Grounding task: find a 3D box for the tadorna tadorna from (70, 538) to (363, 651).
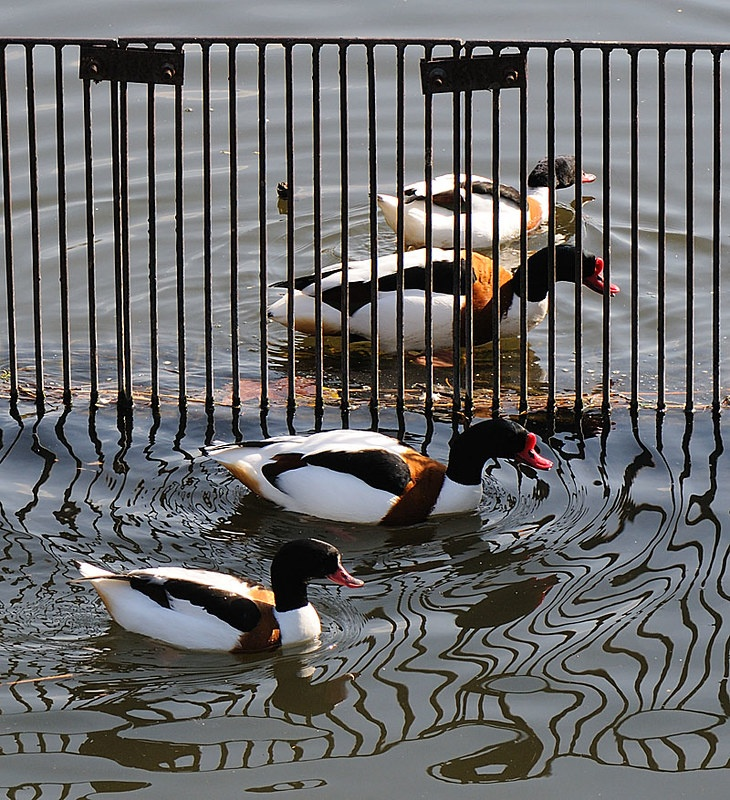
[{"bbox_3d":[-0.608,0.848,5.828,1.168,0.439,0.329,0,3,-9],"label":"tadorna tadorna"}]
